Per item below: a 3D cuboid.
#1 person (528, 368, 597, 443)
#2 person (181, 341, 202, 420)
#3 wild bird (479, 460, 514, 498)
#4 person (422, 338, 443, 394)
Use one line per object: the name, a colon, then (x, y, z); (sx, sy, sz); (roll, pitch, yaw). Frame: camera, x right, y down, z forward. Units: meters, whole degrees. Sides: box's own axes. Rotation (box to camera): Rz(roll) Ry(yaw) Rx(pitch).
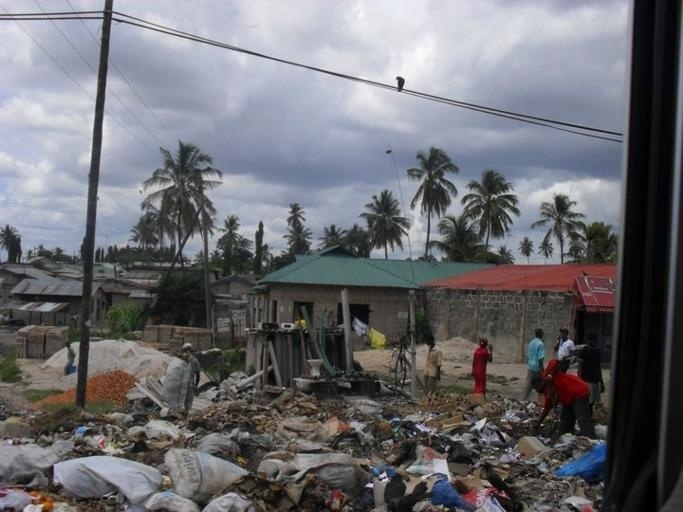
person: (3.534, 2.326, 8.534); (0.895, 1.530, 0.381); (-5, 16, 22)
person: (-3.485, 2.768, 12.389); (0.373, 1.492, 1.456); (2, -5, -15)
wild bird: (1.903, 2.784, 6.644); (0.216, 0.139, 0.549); (26, 17, -37)
person: (2.296, 2.789, 13.452); (0.384, 1.261, 1.067); (0, -5, 11)
